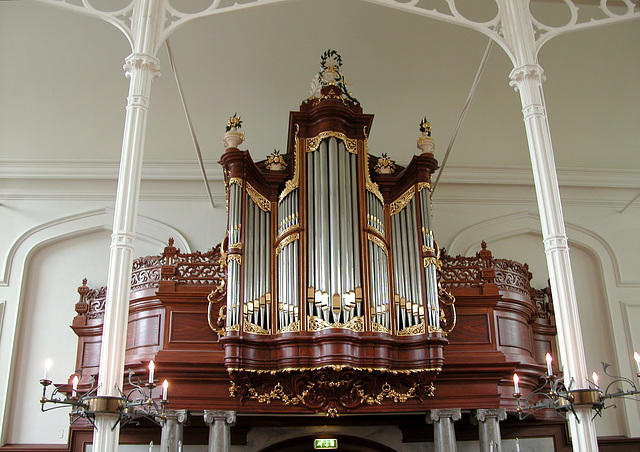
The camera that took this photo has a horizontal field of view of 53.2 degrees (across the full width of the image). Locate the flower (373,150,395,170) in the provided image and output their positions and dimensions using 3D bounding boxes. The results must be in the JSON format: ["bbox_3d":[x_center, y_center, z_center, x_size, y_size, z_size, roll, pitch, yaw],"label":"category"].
[{"bbox_3d":[1.147,-1.154,11.314,0.363,0.358,0.326,-3,-23,1],"label":"flower"}]

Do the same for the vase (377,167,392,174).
[{"bbox_3d":[1.142,-0.971,11.284,0.180,0.127,0.117,-7,6,-5],"label":"vase"}]
